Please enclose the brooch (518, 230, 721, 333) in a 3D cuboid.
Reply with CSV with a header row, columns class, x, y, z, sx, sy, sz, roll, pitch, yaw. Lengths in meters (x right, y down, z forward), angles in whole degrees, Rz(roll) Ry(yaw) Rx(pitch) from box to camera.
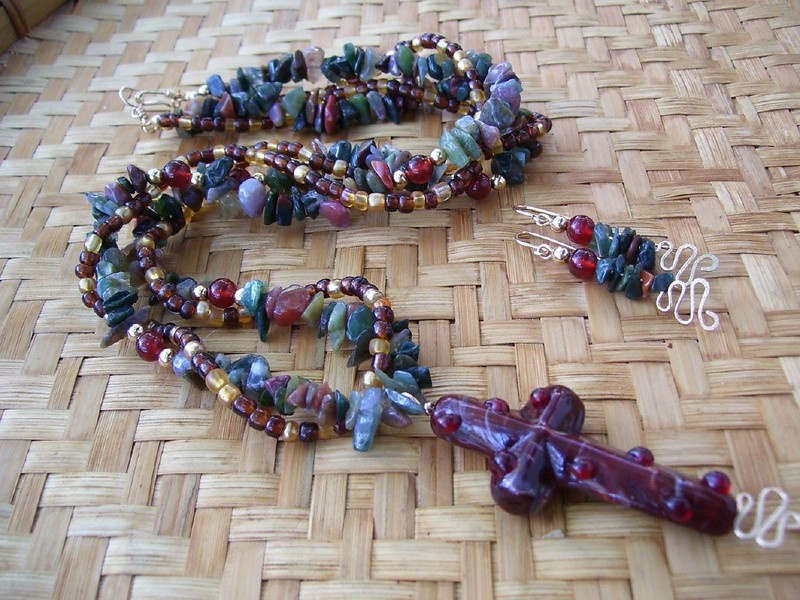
class,x,y,z,sx,sy,sz,roll,pitch,yaw
brooch,0.401,-0.083,1.357,0.383,0.058,0.153,26,64,20
